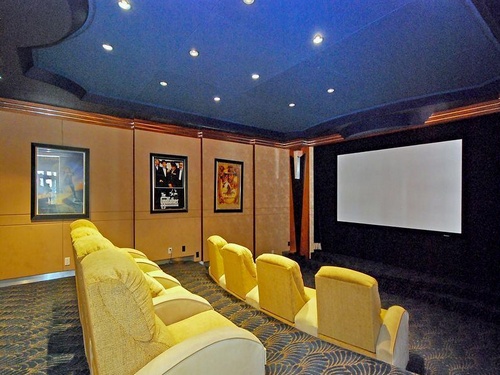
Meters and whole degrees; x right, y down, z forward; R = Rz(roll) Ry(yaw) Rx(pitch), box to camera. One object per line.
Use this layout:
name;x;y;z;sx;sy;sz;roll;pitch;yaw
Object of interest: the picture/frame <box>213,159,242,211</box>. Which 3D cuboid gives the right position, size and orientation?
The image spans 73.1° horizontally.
picture/frame;-0.509;-0.041;7.580;0.728;0.983;0.081;-1;-1;-38
